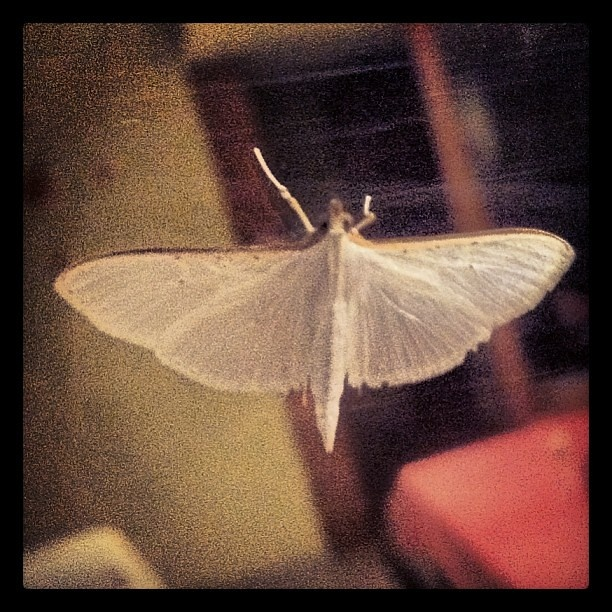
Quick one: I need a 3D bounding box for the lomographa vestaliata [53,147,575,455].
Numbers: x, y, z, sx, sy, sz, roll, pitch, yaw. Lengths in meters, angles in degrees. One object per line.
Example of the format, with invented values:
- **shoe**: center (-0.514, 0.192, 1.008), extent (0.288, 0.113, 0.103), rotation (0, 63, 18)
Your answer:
- **lomographa vestaliata**: center (0.028, -0.017, 2.286), extent (1.164, 0.696, 0.017), rotation (-8, 0, 0)
